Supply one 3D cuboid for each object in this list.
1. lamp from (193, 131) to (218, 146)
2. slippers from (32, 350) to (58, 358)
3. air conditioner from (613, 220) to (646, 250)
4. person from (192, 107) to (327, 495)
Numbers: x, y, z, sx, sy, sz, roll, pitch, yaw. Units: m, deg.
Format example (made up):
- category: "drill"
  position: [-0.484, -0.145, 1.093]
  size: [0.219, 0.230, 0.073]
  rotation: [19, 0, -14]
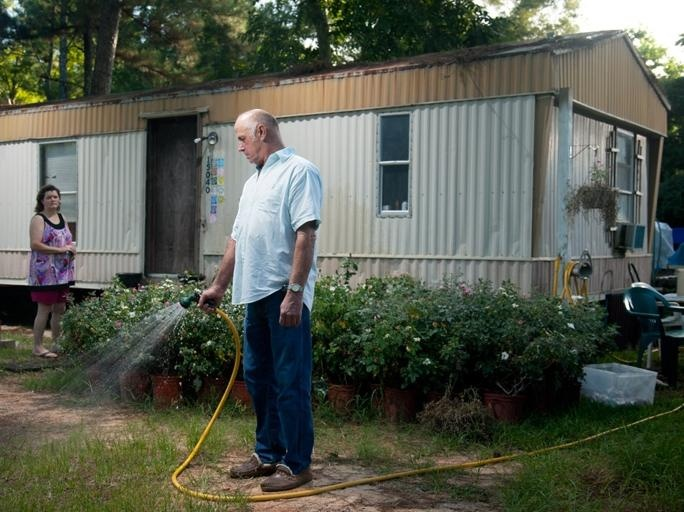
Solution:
- category: "lamp"
  position: [-2.072, -1.747, 12.488]
  size: [0.313, 0.200, 0.184]
  rotation: [3, 2, -40]
- category: "slippers"
  position: [-3.968, 1.305, 11.078]
  size: [0.269, 0.083, 0.126]
  rotation: [-3, -3, 17]
- category: "air conditioner"
  position: [4.528, -0.308, 13.054]
  size: [0.214, 0.474, 1.128]
  rotation: [0, -4, 33]
- category: "person"
  position: [-0.627, 0.359, 7.165]
  size: [0.884, 3.253, 0.478]
  rotation: [1, -3, 10]
